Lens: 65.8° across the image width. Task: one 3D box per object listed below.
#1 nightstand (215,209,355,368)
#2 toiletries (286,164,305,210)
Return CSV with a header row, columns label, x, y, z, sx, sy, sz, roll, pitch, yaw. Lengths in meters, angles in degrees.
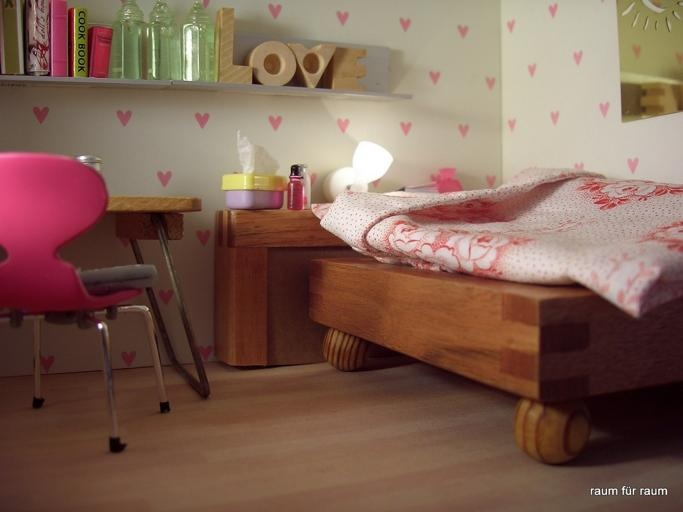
label,x,y,z,sx,sy,sz,roll,pitch,yaw
nightstand,-0.203,0.121,2.010,0.676,0.538,0.343,0,2,-22
toiletries,-0.183,-0.281,2.146,0.071,0.181,0.159,-2,6,-5
